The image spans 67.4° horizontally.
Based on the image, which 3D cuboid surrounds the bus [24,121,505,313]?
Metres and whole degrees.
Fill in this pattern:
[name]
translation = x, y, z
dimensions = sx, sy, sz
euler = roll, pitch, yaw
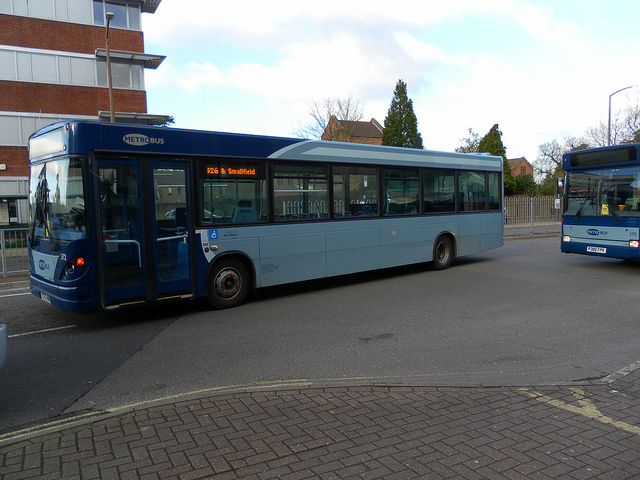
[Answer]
[bus]
translation = 0.040, -0.786, 12.325
dimensions = 12.978, 3.604, 2.472
euler = -7, 9, -37
